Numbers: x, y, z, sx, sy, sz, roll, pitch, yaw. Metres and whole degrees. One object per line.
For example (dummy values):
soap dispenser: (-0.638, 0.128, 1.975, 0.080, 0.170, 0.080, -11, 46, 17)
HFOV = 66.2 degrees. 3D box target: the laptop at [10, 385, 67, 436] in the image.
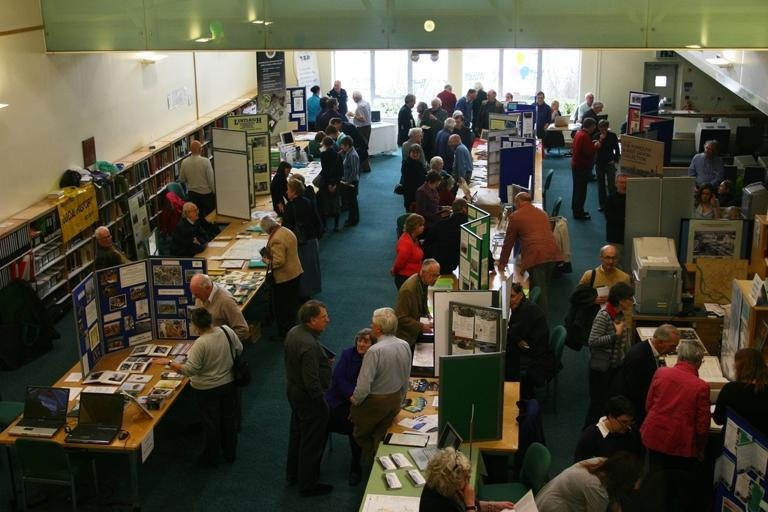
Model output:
laptop: (-3.519, 1.619, 6.119, 0.490, 0.355, 0.447, 3, 14, 6)

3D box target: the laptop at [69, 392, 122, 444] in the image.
laptop: (-2.898, 1.647, 6.033, 0.517, 0.380, 0.450, 2, 15, 3)

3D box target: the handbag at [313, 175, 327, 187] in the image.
handbag: (-1.330, -1.550, 12.225, 0.220, 0.211, 0.382, 17, -4, -2)

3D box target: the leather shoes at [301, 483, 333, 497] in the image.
leather shoes: (-0.728, 2.541, 6.484, 0.375, 0.155, 0.137, -3, 20, -9)

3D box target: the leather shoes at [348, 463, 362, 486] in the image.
leather shoes: (-0.319, 2.413, 6.558, 0.143, 0.194, 0.181, -3, 16, -4)

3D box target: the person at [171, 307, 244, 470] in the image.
person: (-1.877, 1.479, 6.593, 0.629, 1.918, 0.271, -8, 16, -20)
